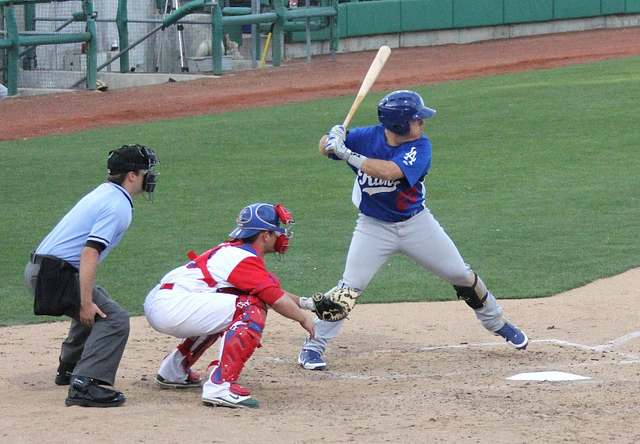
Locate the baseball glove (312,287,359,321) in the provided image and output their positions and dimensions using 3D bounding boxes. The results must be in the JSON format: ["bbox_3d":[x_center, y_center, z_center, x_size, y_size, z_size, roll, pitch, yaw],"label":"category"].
[{"bbox_3d":[0.174,0.935,13.655,0.288,0.352,0.528,5,10,30],"label":"baseball glove"}]

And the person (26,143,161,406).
[{"bbox_3d":[-2.475,0.576,13.142,1.391,2.766,0.733,-3,10,-11],"label":"person"}]

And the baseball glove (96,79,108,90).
[{"bbox_3d":[-4.782,-2.989,26.443,0.226,0.209,0.377,-2,9,-9],"label":"baseball glove"}]
